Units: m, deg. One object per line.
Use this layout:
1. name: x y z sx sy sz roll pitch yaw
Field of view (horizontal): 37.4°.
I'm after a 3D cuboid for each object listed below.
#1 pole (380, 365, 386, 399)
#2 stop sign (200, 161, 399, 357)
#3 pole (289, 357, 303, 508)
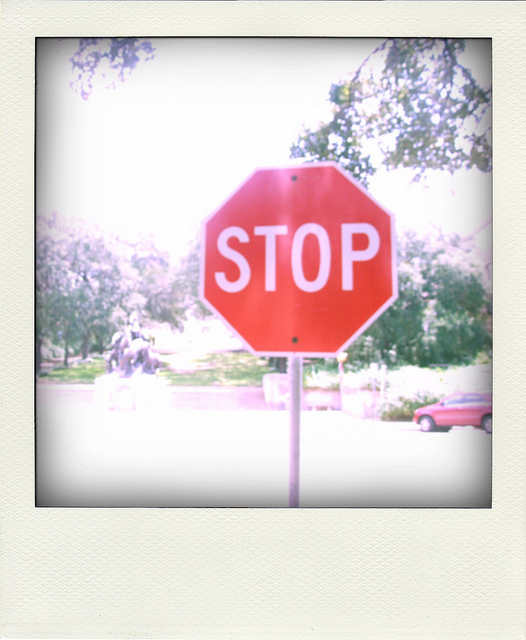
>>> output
1. pole: 0.262 0.136 1.707 0.011 0.073 0.006 0 1 -12
2. stop sign: 0.097 -0.143 1.703 0.360 0.412 0.028 0 1 4
3. pole: 0.071 0.248 1.715 0.026 0.328 0.011 1 1 5
